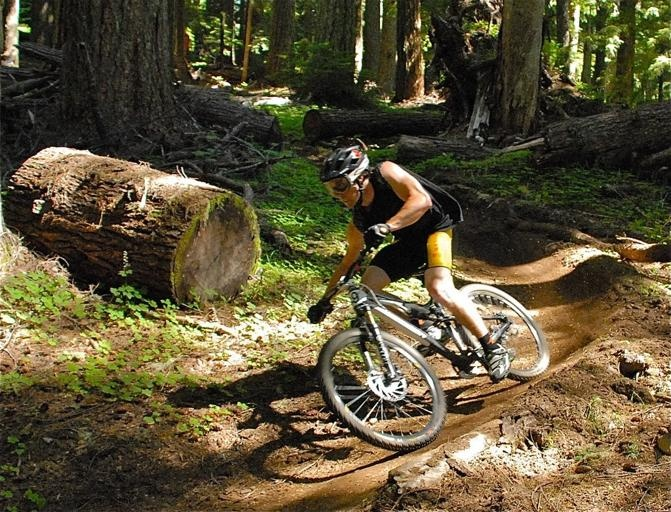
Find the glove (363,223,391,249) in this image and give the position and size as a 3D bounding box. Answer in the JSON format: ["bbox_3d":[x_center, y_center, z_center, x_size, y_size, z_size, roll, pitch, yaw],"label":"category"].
[{"bbox_3d":[0.423,-0.213,6.641,0.276,0.171,0.259,-23,-9,-38],"label":"glove"}]

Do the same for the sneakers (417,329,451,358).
[{"bbox_3d":[1.072,0.967,7.100,0.220,0.180,0.550,-8,0,35],"label":"sneakers"}]

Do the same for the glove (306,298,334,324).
[{"bbox_3d":[-0.164,0.586,6.871,0.364,0.097,0.224,-33,56,-24],"label":"glove"}]

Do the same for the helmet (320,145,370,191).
[{"bbox_3d":[0.123,-0.949,6.649,0.466,0.292,0.568,-19,19,35],"label":"helmet"}]
